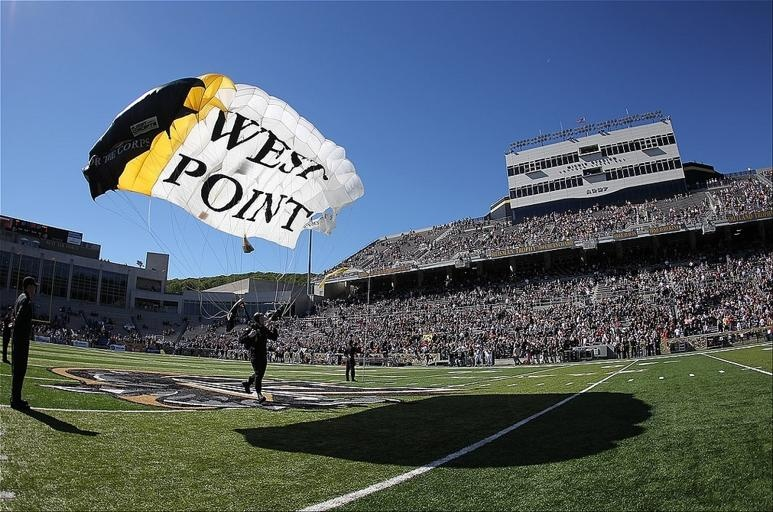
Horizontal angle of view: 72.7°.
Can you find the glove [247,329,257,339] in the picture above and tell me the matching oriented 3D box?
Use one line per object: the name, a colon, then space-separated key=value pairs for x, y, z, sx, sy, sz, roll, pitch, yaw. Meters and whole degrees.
glove: x=-3.271 y=1.892 z=12.824 sx=0.197 sy=0.182 sz=0.046 roll=-20 pitch=-23 yaw=28
